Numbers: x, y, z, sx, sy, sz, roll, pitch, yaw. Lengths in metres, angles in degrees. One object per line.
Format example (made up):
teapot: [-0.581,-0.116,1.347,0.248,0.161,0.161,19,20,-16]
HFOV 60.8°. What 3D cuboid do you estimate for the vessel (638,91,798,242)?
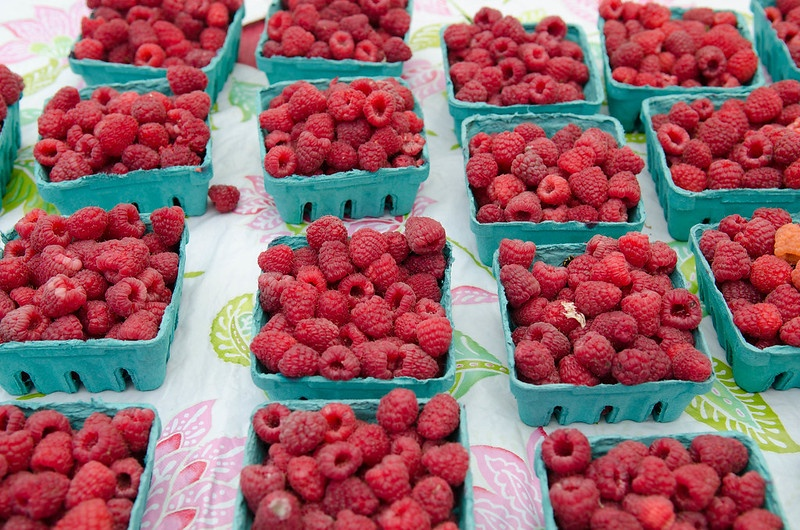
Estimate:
vessel: [1.754,-0.588,4.110,0.678,0.351,0.951,2,79,3]

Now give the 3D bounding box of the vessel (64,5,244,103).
vessel: [-1.633,-1.323,4.611,0.838,0.310,0.732,-4,58,-6]
